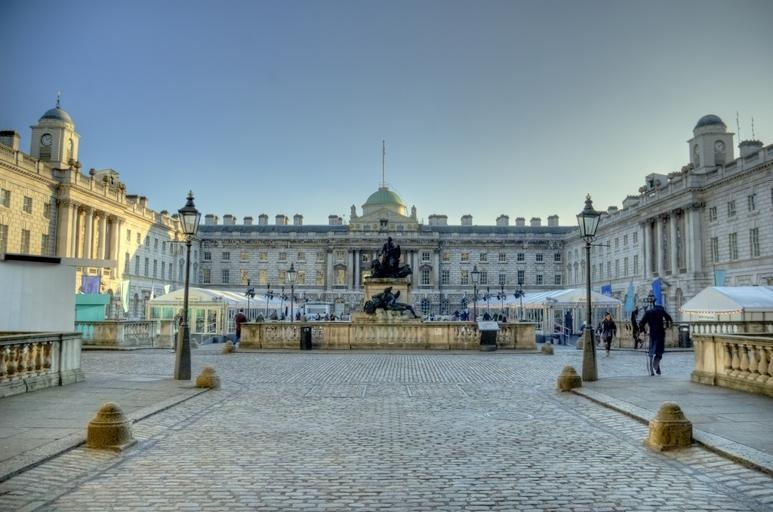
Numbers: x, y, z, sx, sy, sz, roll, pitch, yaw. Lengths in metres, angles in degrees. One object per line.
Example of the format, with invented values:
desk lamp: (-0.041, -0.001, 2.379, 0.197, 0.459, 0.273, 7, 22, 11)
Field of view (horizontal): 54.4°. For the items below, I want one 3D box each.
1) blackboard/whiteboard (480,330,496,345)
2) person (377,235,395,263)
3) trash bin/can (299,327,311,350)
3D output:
blackboard/whiteboard: (4.650, 3.752, 34.480, 0.678, 0.648, 0.669, 1, -8, -1)
person: (0.164, -0.226, 40.695, 0.991, 1.403, 1.466, 0, 0, -23)
trash bin/can: (-3.692, 3.771, 34.523, 0.536, 1.012, 0.771, 0, 0, -9)
